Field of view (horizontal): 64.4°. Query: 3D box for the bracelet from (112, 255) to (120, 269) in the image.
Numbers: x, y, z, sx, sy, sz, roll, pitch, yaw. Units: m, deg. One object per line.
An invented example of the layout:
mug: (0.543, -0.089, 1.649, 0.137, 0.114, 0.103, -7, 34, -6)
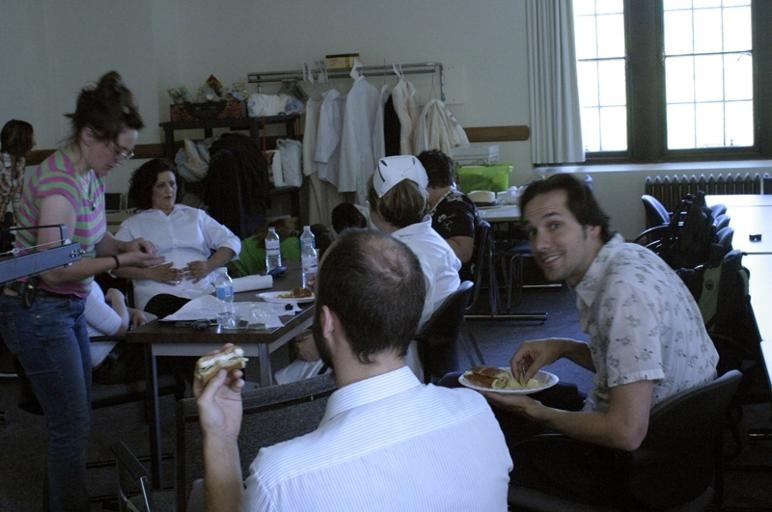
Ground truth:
bracelet: (-1.326, 0.035, 3.042, 0.013, 0.052, 0.051, -2, 8, -39)

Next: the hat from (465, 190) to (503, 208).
hat: (0.948, -0.566, 6.106, 0.254, 0.096, 0.183, 5, 9, 36)

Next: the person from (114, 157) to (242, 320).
person: (-1.418, 0.012, 4.163, 0.888, 1.404, 0.838, -3, -3, -32)

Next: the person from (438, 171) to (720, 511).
person: (0.825, 0.543, 2.404, 0.984, 1.643, 0.837, 0, 0, 21)

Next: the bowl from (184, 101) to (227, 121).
bowl: (-2.065, -1.679, 7.137, 0.334, 0.146, 0.250, -1, 9, 2)

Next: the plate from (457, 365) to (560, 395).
plate: (0.495, 0.495, 2.411, 0.232, 0.033, 0.197, -2, 5, -23)

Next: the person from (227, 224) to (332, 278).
person: (-1.033, -0.028, 5.583, 0.786, 0.246, 0.578, -7, 7, -37)

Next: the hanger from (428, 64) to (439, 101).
hanger: (0.609, -2.171, 7.589, 0.105, 0.393, 0.189, -2, 9, 2)

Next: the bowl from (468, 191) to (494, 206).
bowl: (0.954, -0.575, 6.090, 0.182, 0.091, 0.143, 0, 8, -6)

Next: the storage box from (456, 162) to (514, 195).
storage box: (1.079, -0.857, 6.813, 0.508, 0.246, 0.400, 0, 2, 36)

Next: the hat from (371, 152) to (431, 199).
hat: (0.088, -0.436, 3.613, 0.337, 0.325, 0.258, 23, 19, 36)
